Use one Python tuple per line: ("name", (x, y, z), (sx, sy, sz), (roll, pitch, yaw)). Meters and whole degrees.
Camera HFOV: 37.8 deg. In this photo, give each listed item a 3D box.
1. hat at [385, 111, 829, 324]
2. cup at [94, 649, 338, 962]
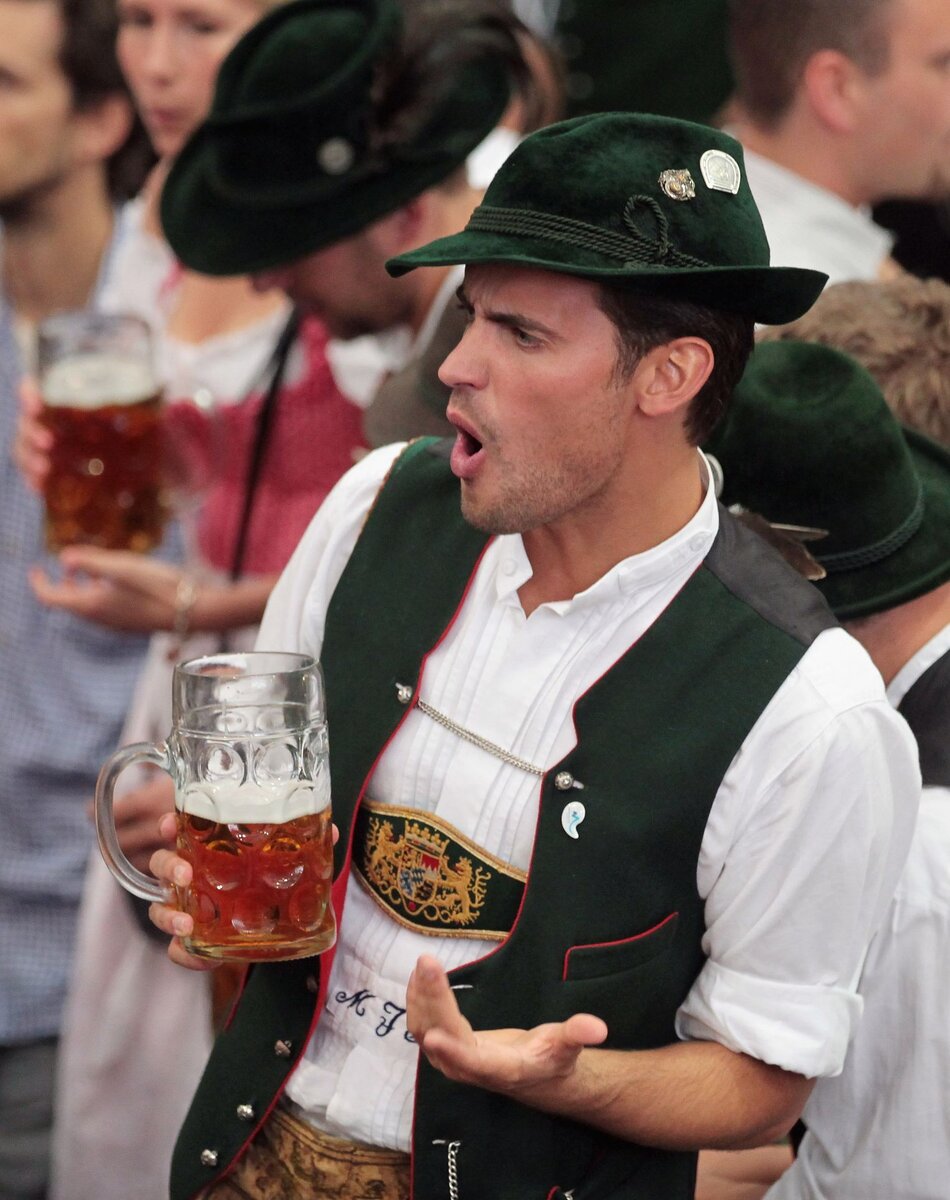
("hat", (0.155, -0.348, 1.389), (0.312, 0.099, 0.248), (10, 9, -11))
("cup", (-0.261, 0.263, 1.378), (0.216, 0.452, 0.253), (-2, 42, -17))
